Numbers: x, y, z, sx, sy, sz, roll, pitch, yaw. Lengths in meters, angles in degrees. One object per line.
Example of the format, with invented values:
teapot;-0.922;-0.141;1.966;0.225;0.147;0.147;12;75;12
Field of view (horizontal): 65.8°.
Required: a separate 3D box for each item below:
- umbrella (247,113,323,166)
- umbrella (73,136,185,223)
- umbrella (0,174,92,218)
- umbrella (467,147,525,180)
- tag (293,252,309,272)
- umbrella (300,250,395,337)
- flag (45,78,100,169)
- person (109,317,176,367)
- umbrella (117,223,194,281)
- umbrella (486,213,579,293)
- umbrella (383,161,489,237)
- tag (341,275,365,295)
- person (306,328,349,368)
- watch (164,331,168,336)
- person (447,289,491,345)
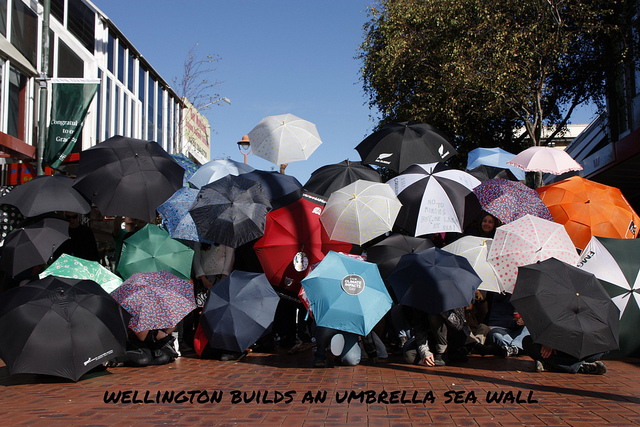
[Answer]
umbrella;-0.873;-1.881;12.406;1.673;1.396;0.873;0;-2;-7
umbrella;-3.821;-0.719;10.057;2.020;1.756;1.064;0;-2;-19
umbrella;-5.375;-0.374;9.824;1.556;0.846;0.818;0;-2;-21
umbrella;4.857;-1.557;14.041;1.202;1.218;0.401;-18;-39;-12
tag;-0.376;0.950;9.720;0.316;0.342;0.089;4;-9;-5
umbrella;0.455;1.405;8.675;1.445;1.288;0.562;-1;-2;10
flag;-9.291;-3.418;19.481;1.681;3.770;2.108;1;0;-10
person;-3.222;2.558;9.231;0.697;1.245;0.483;-4;-10;23
umbrella;-3.340;0.820;10.492;1.154;1.219;1.722;0;-1;-15
umbrella;3.946;0.783;9.667;1.460;1.404;1.031;-4;-5;4
umbrella;2.471;-0.363;10.812;1.748;1.747;0.850;-26;-32;-12
tag;0.567;1.242;8.561;0.271;0.272;0.037;13;-30;4
person;0.168;2.496;9.139;0.810;0.994;0.560;9;-15;-26
watch;-2.950;2.314;9.545;0.050;0.045;0.052;29;6;-6
person;2.794;1.988;9.390;0.853;1.027;0.587;17;-20;2
